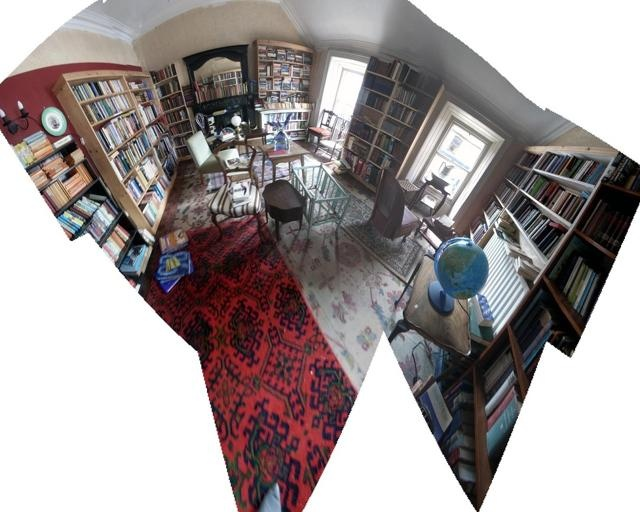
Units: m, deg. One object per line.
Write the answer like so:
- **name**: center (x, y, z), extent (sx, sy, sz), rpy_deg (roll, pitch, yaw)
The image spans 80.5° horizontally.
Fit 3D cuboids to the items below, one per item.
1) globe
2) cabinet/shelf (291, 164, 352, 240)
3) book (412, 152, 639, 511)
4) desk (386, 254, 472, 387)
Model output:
- **globe**: center (0.542, 0.075, 1.436), extent (0.196, 0.320, 0.196), rpy_deg (-39, 45, -26)
- **cabinet/shelf**: center (0.015, -0.311, 2.258), extent (0.200, 0.246, 0.426), rpy_deg (-4, 52, -14)
- **book**: center (0.685, 0.194, 1.350), extent (0.542, 1.119, 0.439), rpy_deg (-4, 16, -25)
- **desk**: center (0.490, 0.278, 1.746), extent (0.307, 0.384, 0.405), rpy_deg (41, 52, 10)
